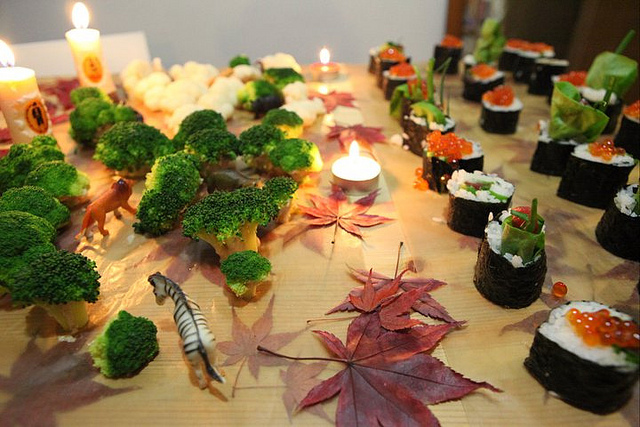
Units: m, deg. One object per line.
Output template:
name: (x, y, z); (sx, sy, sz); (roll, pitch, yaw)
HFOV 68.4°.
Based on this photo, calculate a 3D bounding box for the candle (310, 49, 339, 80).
candle: (0.077, -2.087, 6.842); (0.389, 0.372, 0.387); (-3, 44, -2)

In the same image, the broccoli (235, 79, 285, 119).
broccoli: (-0.790, -1.593, 6.339); (0.517, 0.512, 0.578); (7, 28, 14)

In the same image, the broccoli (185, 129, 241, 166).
broccoli: (-1.141, -0.753, 5.030); (0.410, 0.354, 0.426); (16, 25, 41)

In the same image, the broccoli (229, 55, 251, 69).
broccoli: (-1.214, -2.245, 7.022); (0.233, 0.202, 0.232); (-7, 43, -10)

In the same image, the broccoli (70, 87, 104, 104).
broccoli: (-2.855, -1.458, 5.733); (0.243, 0.108, 0.301); (-7, 34, -17)

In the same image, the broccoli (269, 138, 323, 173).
broccoli: (-0.265, -0.594, 4.964); (0.544, 0.294, 0.354); (-1, 35, -3)

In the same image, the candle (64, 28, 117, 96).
candle: (-2.894, -1.884, 5.890); (0.353, 0.795, 0.351); (3, 35, 3)

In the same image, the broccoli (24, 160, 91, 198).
broccoli: (-2.597, -0.341, 4.662); (0.467, 0.135, 0.366); (25, 34, -31)

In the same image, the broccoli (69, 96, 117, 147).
broccoli: (-2.734, -1.070, 5.627); (0.547, 0.576, 0.488); (25, 27, 1)

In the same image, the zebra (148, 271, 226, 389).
zebra: (-1.005, 0.900, 3.622); (0.217, 0.629, 0.812); (-22, 41, -29)

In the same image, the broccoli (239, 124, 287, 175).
broccoli: (-0.631, -0.709, 5.264); (0.506, 0.514, 0.528); (-14, 33, -8)

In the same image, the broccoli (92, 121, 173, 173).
broccoli: (-2.033, -0.695, 5.102); (0.791, 0.470, 0.380); (-2, 35, -4)

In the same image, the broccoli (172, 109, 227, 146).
broccoli: (-1.384, -1.048, 5.369); (0.452, 0.427, 0.553); (-23, 32, -36)

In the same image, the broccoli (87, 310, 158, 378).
broccoli: (-1.536, 1.026, 3.667); (0.356, 0.334, 0.488); (29, 43, 34)
